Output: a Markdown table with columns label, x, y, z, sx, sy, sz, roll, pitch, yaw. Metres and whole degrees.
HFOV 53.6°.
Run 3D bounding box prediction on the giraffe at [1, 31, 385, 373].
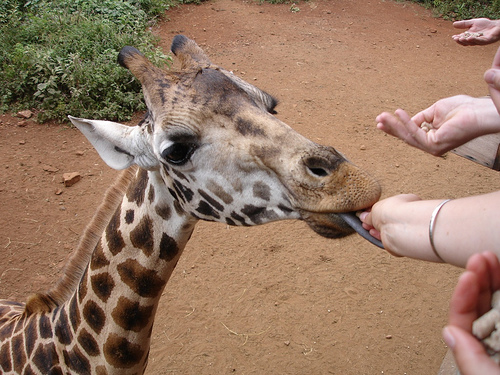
| label | x | y | z | sx | sy | sz | roll | pitch | yaw |
| --- | --- | --- | --- | --- | --- | --- | --- | --- | --- |
| giraffe | -0.924 | -0.589 | 6.678 | 5.063 | 5.342 | 2.082 | 8 | 23 | 12 |
